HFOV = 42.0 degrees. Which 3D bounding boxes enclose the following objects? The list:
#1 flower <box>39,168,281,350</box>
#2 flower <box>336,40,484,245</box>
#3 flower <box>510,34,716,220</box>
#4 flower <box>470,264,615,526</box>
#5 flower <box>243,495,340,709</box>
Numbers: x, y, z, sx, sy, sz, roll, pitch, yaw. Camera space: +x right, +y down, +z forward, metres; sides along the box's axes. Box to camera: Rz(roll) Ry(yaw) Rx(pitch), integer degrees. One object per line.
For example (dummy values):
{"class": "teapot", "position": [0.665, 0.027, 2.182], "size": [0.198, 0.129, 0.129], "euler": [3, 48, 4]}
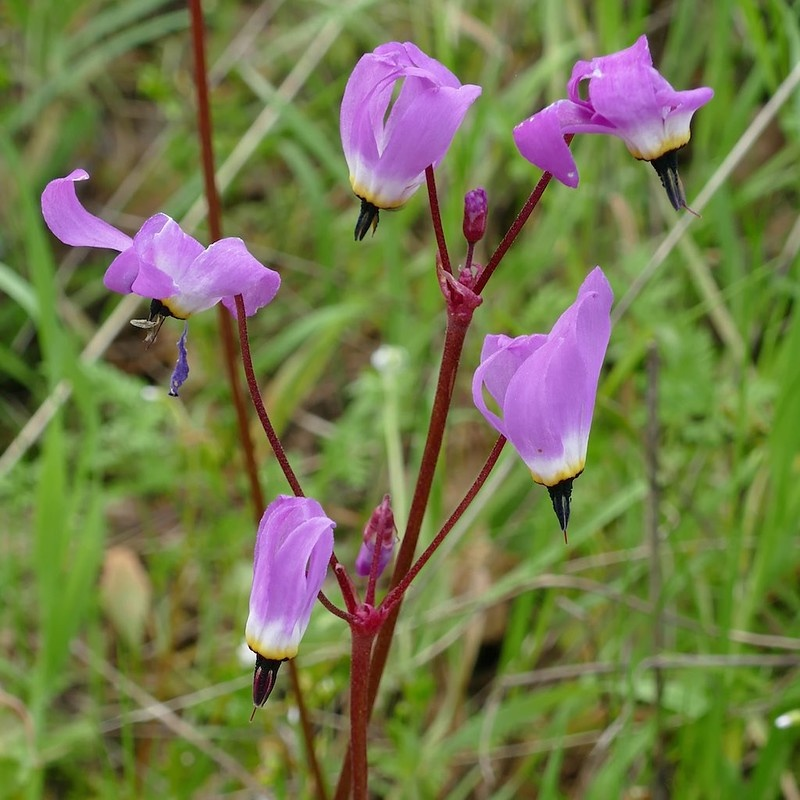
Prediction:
{"class": "flower", "position": [-0.265, -0.183, 1.336], "size": [0.293, 0.322, 0.161], "euler": [11, 89, 32]}
{"class": "flower", "position": [-0.011, -0.329, 1.379], "size": [0.113, 0.153, 0.227], "euler": [10, 86, 32]}
{"class": "flower", "position": [0.267, -0.404, 1.333], "size": [0.193, 0.273, 0.229], "euler": [-8, 23, -6]}
{"class": "flower", "position": [0.173, 0.038, 1.382], "size": [0.156, 0.384, 0.261], "euler": [14, 48, 12]}
{"class": "flower", "position": [-0.142, 0.291, 1.366], "size": [0.125, 0.334, 0.198], "euler": [-4, 47, -6]}
